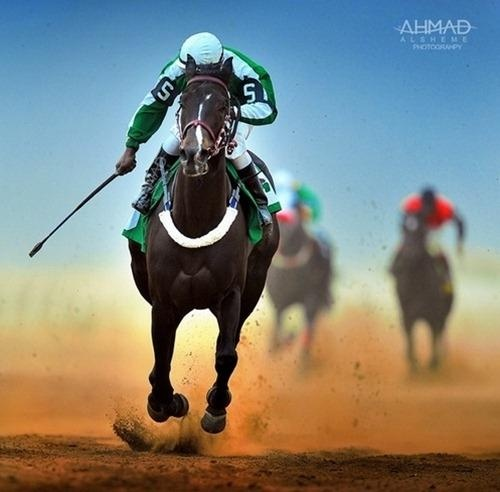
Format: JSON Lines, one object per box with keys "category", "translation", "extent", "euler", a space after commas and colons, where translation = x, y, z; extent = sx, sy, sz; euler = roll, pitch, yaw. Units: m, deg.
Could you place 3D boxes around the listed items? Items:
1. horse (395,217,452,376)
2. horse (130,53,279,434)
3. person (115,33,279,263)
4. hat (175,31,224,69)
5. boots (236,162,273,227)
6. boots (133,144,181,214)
{"category": "horse", "translation": [2.062, 0.449, 10.584], "extent": [0.767, 1.679, 0.485], "euler": [1, -7, 9]}
{"category": "horse", "translation": [-0.368, 0.041, 6.860], "extent": [1.131, 2.849, 2.031], "euler": [2, -7, 1]}
{"category": "person", "translation": [-0.373, -0.886, 7.251], "extent": [1.021, 1.073, 1.752], "euler": [3, -37, 2]}
{"category": "hat", "translation": [-0.377, -1.533, 6.682], "extent": [0.341, 0.253, 0.178], "euler": [-4, -50, -4]}
{"category": "boots", "translation": [0.044, -0.446, 7.144], "extent": [0.172, 0.209, 0.669], "euler": [-3, -41, 23]}
{"category": "boots", "translation": [-0.681, -0.481, 6.795], "extent": [0.179, 0.593, 0.165], "euler": [18, -15, 22]}
